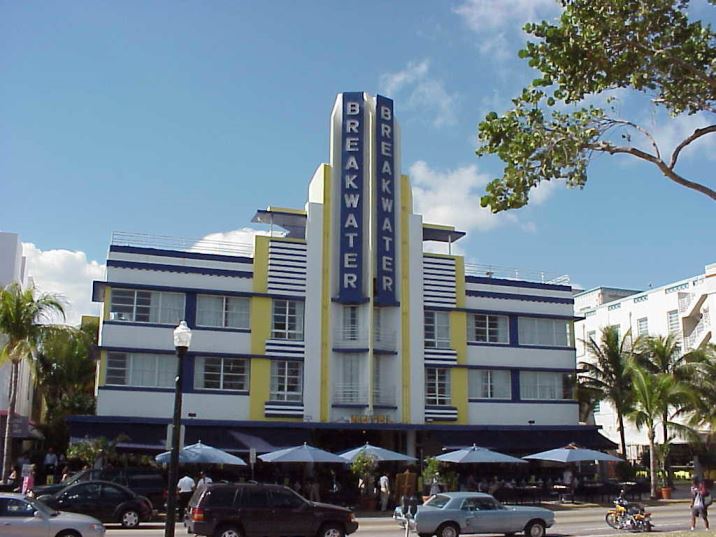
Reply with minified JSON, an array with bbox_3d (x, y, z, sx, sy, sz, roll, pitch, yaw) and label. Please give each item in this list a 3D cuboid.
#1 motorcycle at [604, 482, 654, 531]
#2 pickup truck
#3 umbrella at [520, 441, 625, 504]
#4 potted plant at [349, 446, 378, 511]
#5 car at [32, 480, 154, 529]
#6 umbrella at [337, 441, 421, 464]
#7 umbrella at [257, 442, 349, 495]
[{"bbox_3d":[11.789,10.479,35.501,1.211,1.570,2.492,12,-17,-20],"label":"motorcycle"},{"bbox_3d":[-11.974,10.309,38.251,6.627,2.481,2.621,1,-2,-8],"label":"pickup truck"},{"bbox_3d":[12.021,11.803,46.970,5.727,3.927,5.637,6,-13,-17],"label":"umbrella"},{"bbox_3d":[0.373,11.022,44.220,1.377,3.185,1.562,3,-11,-17],"label":"potted plant"},{"bbox_3d":[-11.200,9.786,35.095,4.387,1.618,2.021,14,-12,-10],"label":"car"},{"bbox_3d":[0.724,9.893,45.352,3.601,1.268,2.353,0,-17,-9],"label":"umbrella"},{"bbox_3d":[-3.372,10.319,42.895,4.065,2.253,2.113,7,-14,-36],"label":"umbrella"}]
